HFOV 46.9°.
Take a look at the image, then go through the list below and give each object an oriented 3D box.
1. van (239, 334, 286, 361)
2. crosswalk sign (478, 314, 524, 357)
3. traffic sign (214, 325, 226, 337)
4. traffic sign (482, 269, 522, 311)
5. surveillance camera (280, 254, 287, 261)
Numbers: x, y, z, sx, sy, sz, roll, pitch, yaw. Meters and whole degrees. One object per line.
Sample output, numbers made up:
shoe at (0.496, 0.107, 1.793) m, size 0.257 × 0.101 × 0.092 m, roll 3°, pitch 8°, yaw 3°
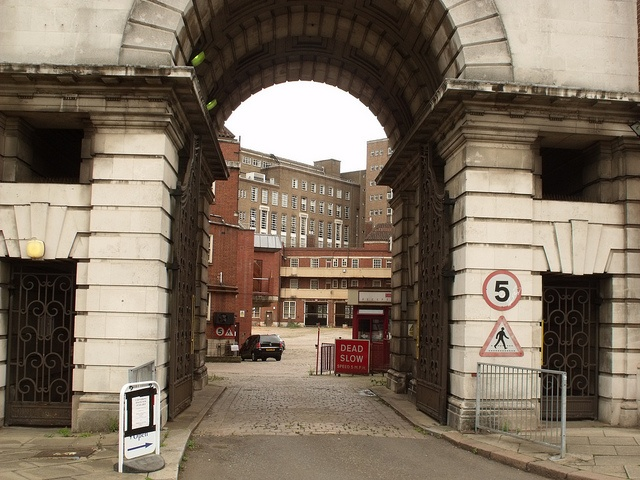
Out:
van at (-3.526, 6.433, 43.714) m, size 2.710 × 1.569 × 1.379 m, roll -10°, pitch -14°, yaw 42°
crosswalk sign at (4.276, 2.311, 17.460) m, size 1.050 × 0.939 × 0.221 m, roll 3°, pitch -10°, yaw -17°
traffic sign at (-5.770, 5.258, 42.245) m, size 0.429 × 0.584 × 1.052 m, roll 2°, pitch -11°, yaw -14°
traffic sign at (4.346, 1.185, 17.592) m, size 0.881 × 1.058 × 0.078 m, roll 0°, pitch 15°, yaw 12°
surveillance camera at (-4.528, 2.089, 89.665) m, size 0.539 × 0.819 × 0.284 m, roll 2°, pitch 4°, yaw 5°
